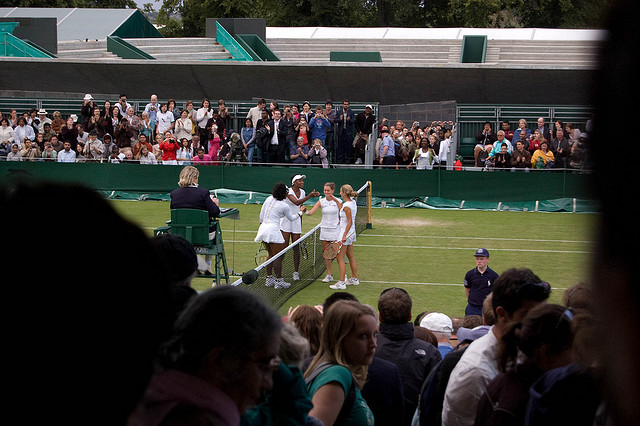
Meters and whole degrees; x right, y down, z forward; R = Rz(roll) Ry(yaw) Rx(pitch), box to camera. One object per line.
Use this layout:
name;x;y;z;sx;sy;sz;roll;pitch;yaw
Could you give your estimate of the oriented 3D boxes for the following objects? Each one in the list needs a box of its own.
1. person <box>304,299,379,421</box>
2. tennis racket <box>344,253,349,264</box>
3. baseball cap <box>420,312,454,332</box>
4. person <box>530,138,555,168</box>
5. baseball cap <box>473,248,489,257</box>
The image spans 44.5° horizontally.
person;0.104;0.811;4.079;0.383;0.588;0.742;1;7;3
tennis racket;0.571;0.998;16.792;0.055;0.137;0.204;6;-9;-25
baseball cap;1.073;1.009;7.171;0.236;0.139;0.171;15;5;38
person;6.871;-1.842;24.019;0.636;0.863;1.046;-2;8;-20
baseball cap;2.276;0.553;11.042;0.181;0.130;0.254;0;-5;19
